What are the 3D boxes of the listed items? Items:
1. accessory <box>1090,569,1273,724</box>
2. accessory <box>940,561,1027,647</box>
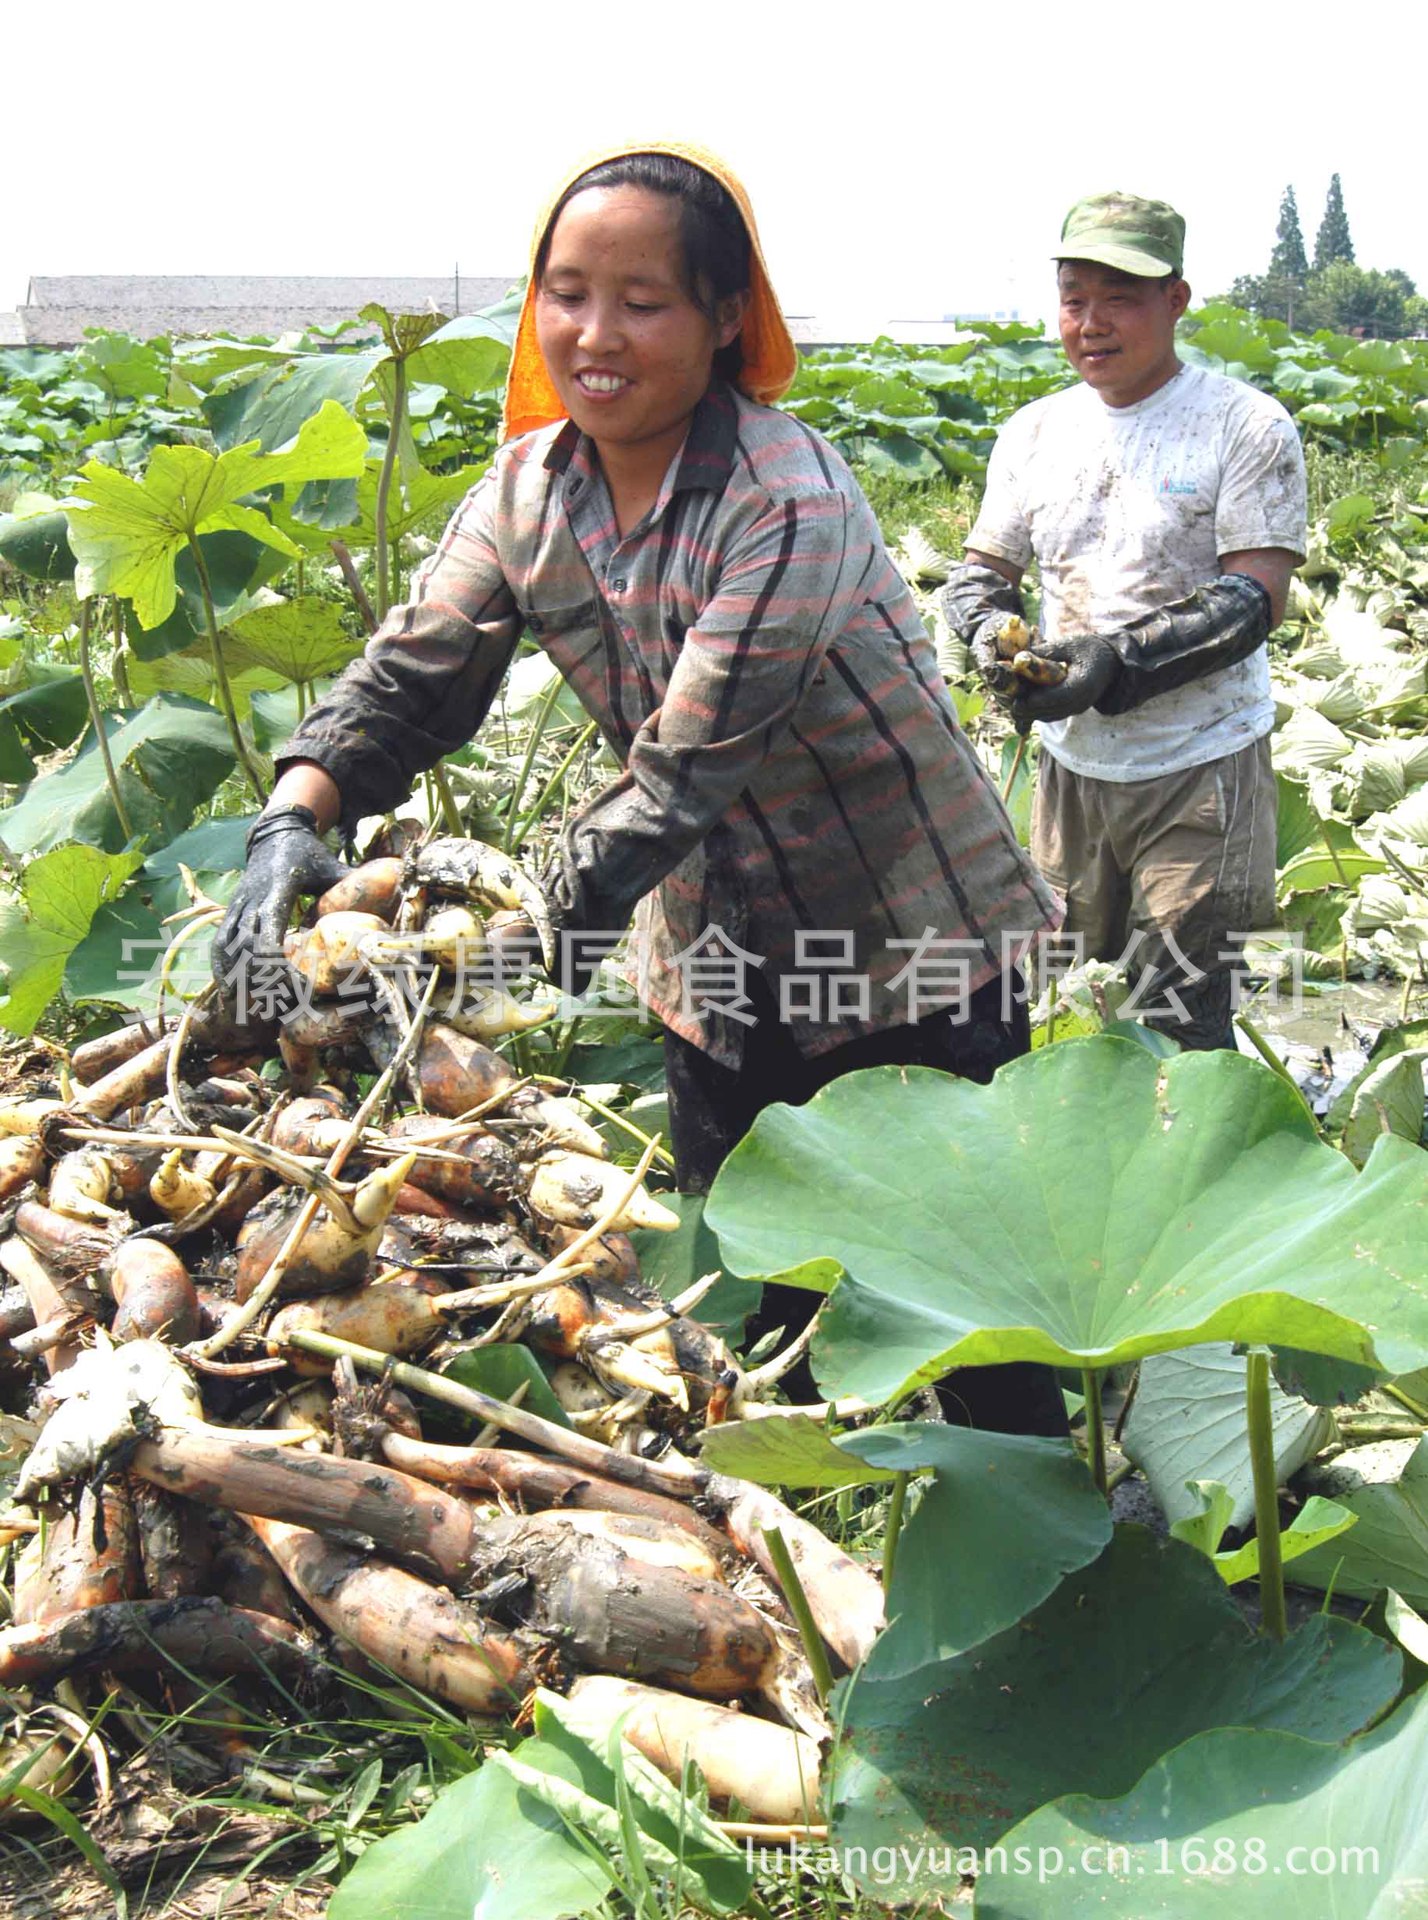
[{"bbox_3d":[1.007,-0.670,3.651,0.400,0.145,0.225,-21,37,14],"label":"accessory"},{"bbox_3d":[0.661,-0.884,4.167,0.207,0.244,0.124,1,-16,27],"label":"accessory"}]
